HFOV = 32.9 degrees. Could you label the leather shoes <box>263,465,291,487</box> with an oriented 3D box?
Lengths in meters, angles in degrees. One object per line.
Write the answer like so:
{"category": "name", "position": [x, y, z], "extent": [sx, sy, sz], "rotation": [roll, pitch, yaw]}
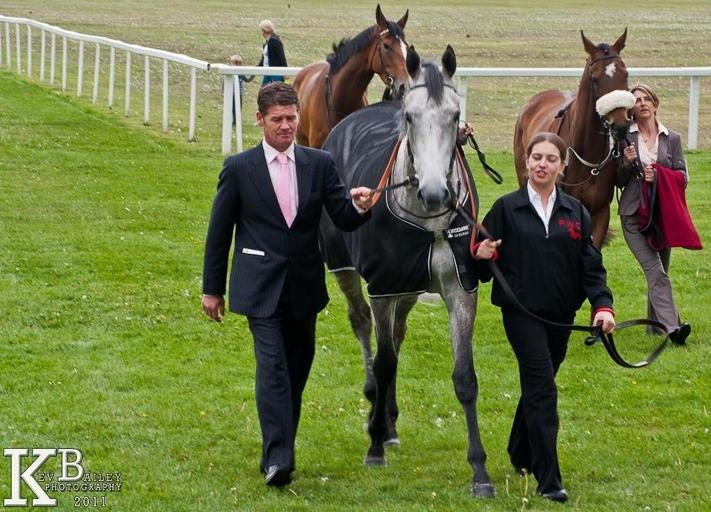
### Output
{"category": "leather shoes", "position": [-0.612, 1.764, 9.634], "extent": [0.110, 0.132, 0.303], "rotation": [4, -26, -13]}

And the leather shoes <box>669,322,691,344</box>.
{"category": "leather shoes", "position": [3.205, 0.759, 11.911], "extent": [0.096, 0.267, 0.108], "rotation": [3, 45, -12]}

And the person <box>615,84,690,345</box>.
{"category": "person", "position": [2.964, -0.402, 11.926], "extent": [0.737, 2.514, 0.515], "rotation": [5, 13, 20]}

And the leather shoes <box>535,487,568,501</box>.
{"category": "leather shoes", "position": [1.583, 1.874, 9.513], "extent": [0.180, 0.081, 0.098], "rotation": [-1, -1, 11]}

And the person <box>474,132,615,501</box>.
{"category": "person", "position": [1.495, 0.464, 9.628], "extent": [1.073, 2.788, 0.803], "rotation": [3, 12, 10]}

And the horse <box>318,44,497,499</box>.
{"category": "horse", "position": [0.470, 0.050, 10.999], "extent": [1.219, 3.726, 4.705], "rotation": [-3, 4, -7]}

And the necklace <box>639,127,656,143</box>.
{"category": "necklace", "position": [2.906, -1.195, 11.899], "extent": [0.122, 0.174, 0.082], "rotation": [2, 10, 1]}
